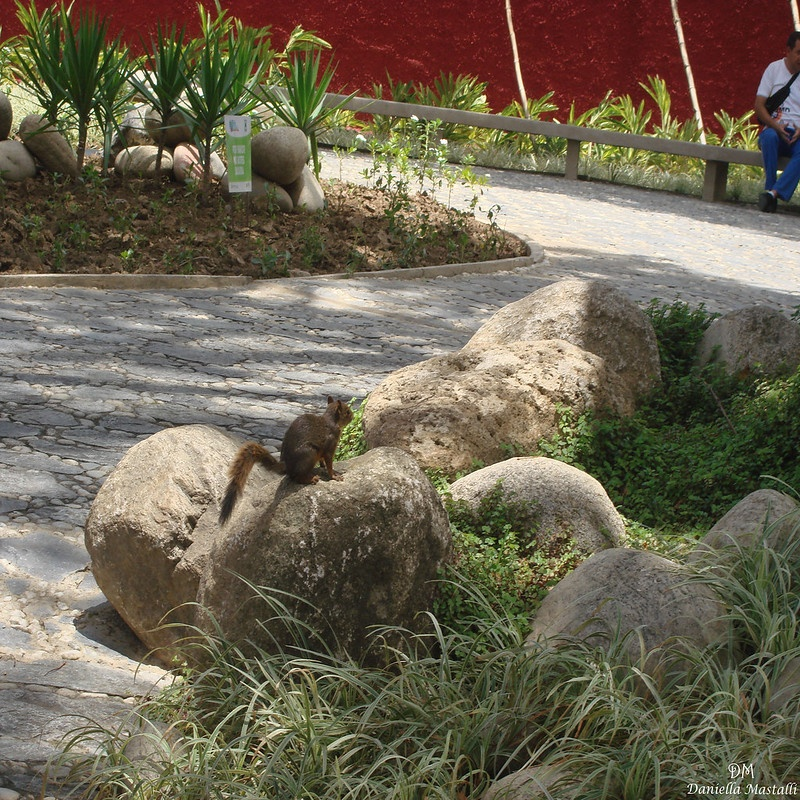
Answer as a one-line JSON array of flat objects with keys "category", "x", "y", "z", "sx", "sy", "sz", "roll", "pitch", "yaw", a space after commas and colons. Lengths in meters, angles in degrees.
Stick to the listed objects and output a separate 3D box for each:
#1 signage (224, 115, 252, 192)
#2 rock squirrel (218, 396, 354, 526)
[{"category": "signage", "x": -1.393, "y": -2.118, "z": 11.222, "sx": 0.266, "sy": 0.636, "sz": 0.008, "roll": -12, "pitch": 18, "yaw": -40}, {"category": "rock squirrel", "x": -0.454, "y": 0.207, "z": 5.291, "sx": 0.692, "sy": 0.335, "sz": 0.203, "roll": -19, "pitch": 24, "yaw": -36}]
